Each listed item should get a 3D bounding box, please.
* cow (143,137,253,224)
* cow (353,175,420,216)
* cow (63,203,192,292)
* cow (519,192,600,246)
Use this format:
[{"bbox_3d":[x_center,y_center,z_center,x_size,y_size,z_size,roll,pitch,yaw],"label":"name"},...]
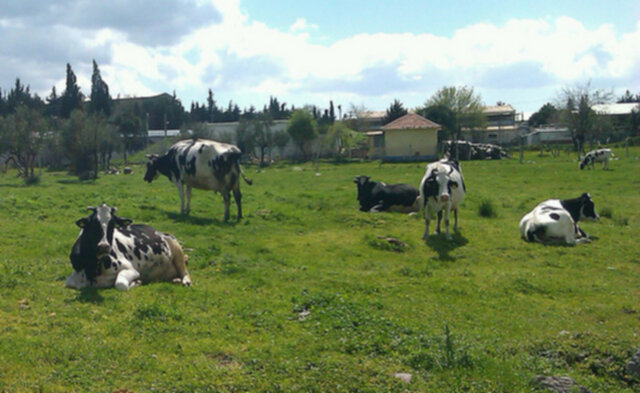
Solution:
[{"bbox_3d":[-5.675,-0.810,25.935,6.162,3.477,1.611,4,9,30],"label":"cow"},{"bbox_3d":[3.109,-0.010,27.383,3.821,1.578,1.292,2,-11,-28],"label":"cow"},{"bbox_3d":[-5.469,1.707,17.583,2.055,1.844,3.960,-2,-12,16],"label":"cow"},{"bbox_3d":[9.071,0.955,21.698,2.712,1.333,1.792,-9,10,-26],"label":"cow"}]
